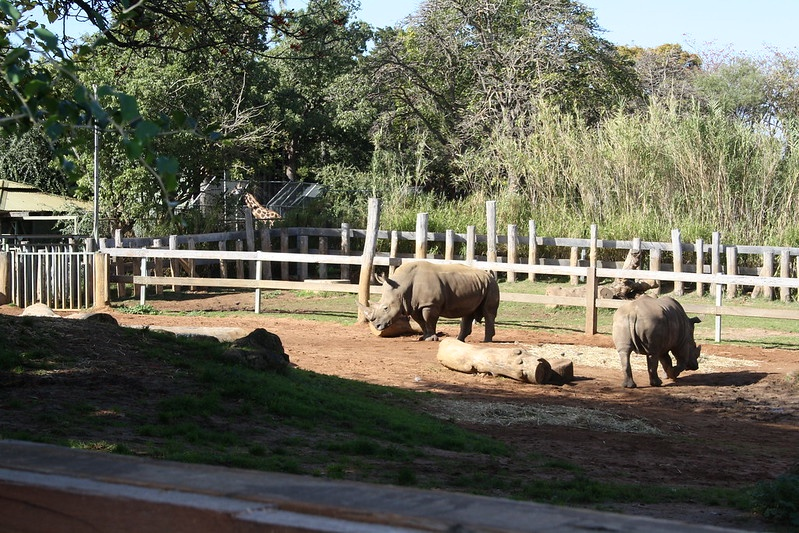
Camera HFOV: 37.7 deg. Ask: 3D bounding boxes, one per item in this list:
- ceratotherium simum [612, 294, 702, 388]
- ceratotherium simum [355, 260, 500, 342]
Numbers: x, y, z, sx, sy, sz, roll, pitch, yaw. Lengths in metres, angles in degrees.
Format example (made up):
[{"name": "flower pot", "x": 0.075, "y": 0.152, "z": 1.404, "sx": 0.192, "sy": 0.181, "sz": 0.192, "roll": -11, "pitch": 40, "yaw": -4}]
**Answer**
[{"name": "ceratotherium simum", "x": 5.720, "y": 1.614, "z": 25.287, "sx": 1.147, "sy": 1.917, "sz": 3.591, "roll": -3, "pitch": -5, "yaw": 36}, {"name": "ceratotherium simum", "x": 0.760, "y": 0.828, "z": 27.664, "sx": 3.578, "sy": 1.923, "sz": 1.183, "roll": 1, "pitch": -3, "yaw": -25}]
